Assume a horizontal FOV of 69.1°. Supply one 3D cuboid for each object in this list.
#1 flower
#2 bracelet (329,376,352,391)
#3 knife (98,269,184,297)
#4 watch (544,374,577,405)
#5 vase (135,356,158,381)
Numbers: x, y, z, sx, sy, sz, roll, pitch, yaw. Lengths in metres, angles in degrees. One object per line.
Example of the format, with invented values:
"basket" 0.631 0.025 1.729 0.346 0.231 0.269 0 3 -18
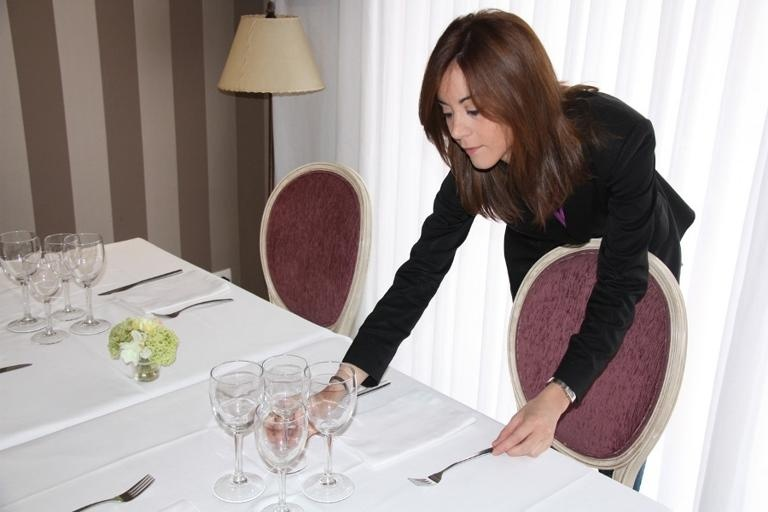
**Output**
"flower" -0.616 0.230 1.437 0.145 0.126 0.160 -18 28 -38
"bracelet" -0.094 0.264 1.174 0.026 0.022 0.038 -1 0 3
"knife" -0.824 0.093 1.882 0.029 0.010 0.222 25 33 37
"watch" 0.458 0.337 1.456 0.065 0.071 0.065 -30 -14 0
"vase" -0.615 0.295 1.441 0.057 0.067 0.059 0 2 19
